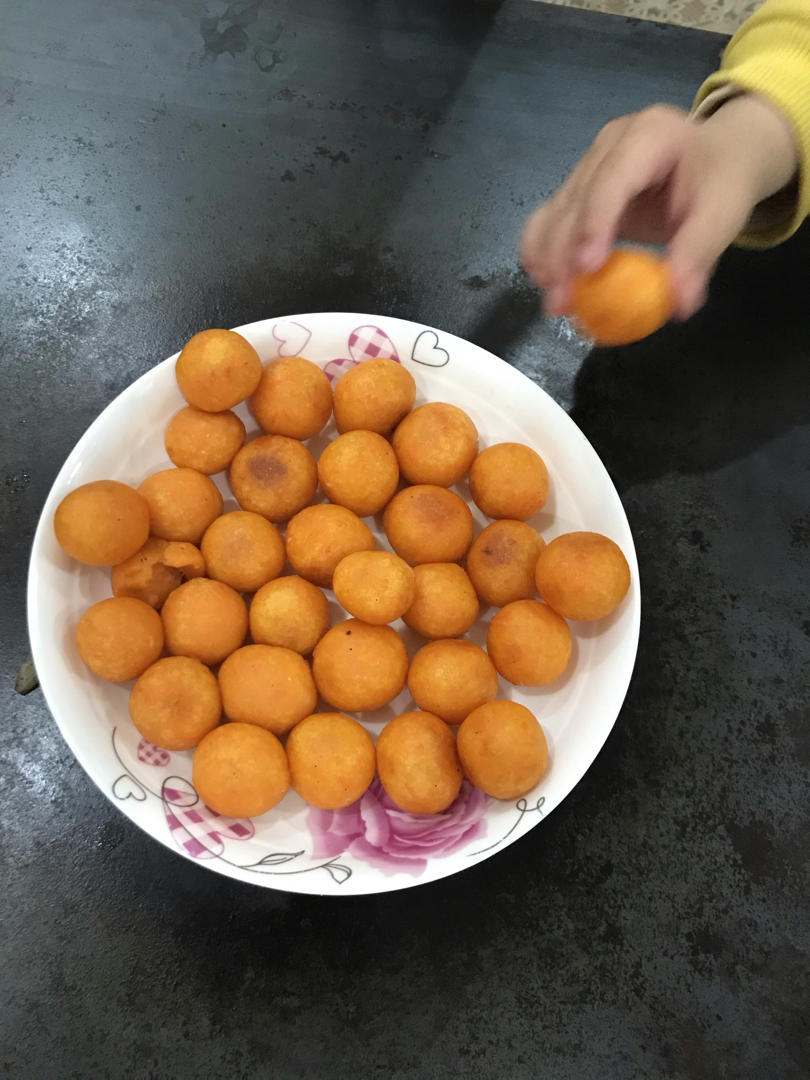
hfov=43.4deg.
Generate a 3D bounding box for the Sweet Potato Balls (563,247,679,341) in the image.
[{"bbox_3d":[0.174,-0.190,0.808,0.069,0.070,0.064,1,68,-3],"label":"Sweet Potato Balls"}]
